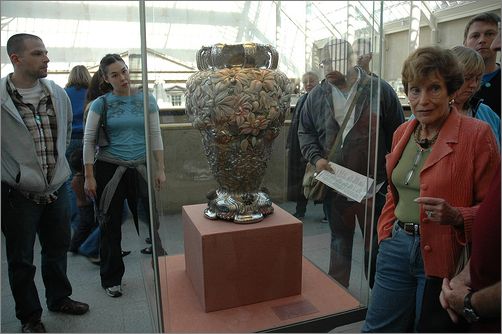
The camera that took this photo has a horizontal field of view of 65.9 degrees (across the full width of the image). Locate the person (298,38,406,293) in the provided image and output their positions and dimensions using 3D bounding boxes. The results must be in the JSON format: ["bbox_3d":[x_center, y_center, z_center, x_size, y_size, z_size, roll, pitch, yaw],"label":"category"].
[{"bbox_3d":[0.674,0.069,2.567,0.611,1.776,0.465,1,19,17],"label":"person"}]

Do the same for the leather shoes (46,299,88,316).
[{"bbox_3d":[-1.488,1.160,3.171,0.336,0.151,0.128,1,7,-9],"label":"leather shoes"}]

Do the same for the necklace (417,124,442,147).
[{"bbox_3d":[0.972,-0.180,2.160,0.084,0.124,0.032,-13,-37,40],"label":"necklace"}]

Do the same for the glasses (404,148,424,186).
[{"bbox_3d":[0.903,0.008,2.138,0.056,0.259,0.063,20,-8,16],"label":"glasses"}]

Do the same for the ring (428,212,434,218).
[{"bbox_3d":[0.897,0.238,1.920,0.016,0.024,0.026,-2,28,-8],"label":"ring"}]

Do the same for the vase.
[{"bbox_3d":[-0.089,-0.230,2.454,0.606,1.061,0.645,-2,14,-5],"label":"vase"}]

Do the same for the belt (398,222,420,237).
[{"bbox_3d":[0.888,0.346,2.142,0.055,0.035,0.076,7,8,-19],"label":"belt"}]

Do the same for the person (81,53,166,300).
[{"bbox_3d":[-0.986,0.074,3.060,0.551,1.914,0.405,-4,21,-23],"label":"person"}]
